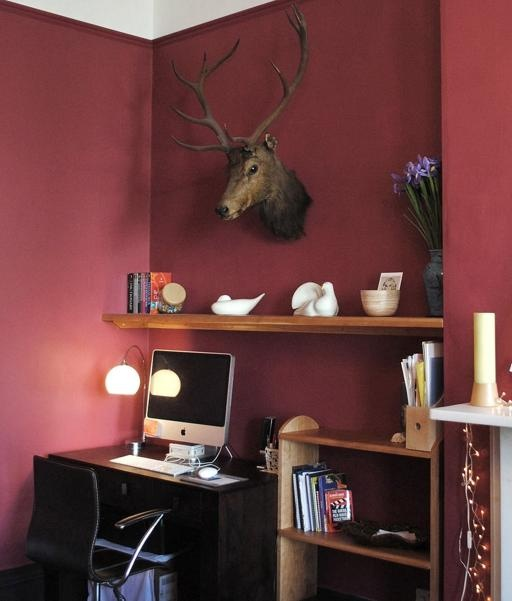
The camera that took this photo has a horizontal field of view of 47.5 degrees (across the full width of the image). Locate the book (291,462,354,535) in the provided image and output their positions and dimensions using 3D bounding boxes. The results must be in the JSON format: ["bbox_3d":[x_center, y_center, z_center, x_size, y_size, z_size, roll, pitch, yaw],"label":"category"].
[{"bbox_3d":[0.248,0.760,2.244,0.229,0.220,0.059,0,0,-22],"label":"book"}]

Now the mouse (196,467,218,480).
[{"bbox_3d":[-0.190,0.703,2.376,0.040,0.020,0.077,22,-5,-6],"label":"mouse"}]

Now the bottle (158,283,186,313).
[{"bbox_3d":[-0.430,-0.015,2.964,0.153,0.143,0.239,-2,1,-11],"label":"bottle"}]

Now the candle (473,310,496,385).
[{"bbox_3d":[0.638,0.139,1.628,0.067,0.216,0.054,-1,0,-5],"label":"candle"}]

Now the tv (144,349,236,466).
[{"bbox_3d":[-0.304,0.515,2.791,0.490,0.493,0.167,-3,-17,34],"label":"tv"}]

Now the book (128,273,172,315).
[{"bbox_3d":[-0.566,-0.019,3.053,0.221,0.293,0.206,5,-4,-42],"label":"book"}]

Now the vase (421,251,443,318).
[{"bbox_3d":[0.635,-0.061,2.038,0.051,0.240,0.097,6,-12,-25],"label":"vase"}]

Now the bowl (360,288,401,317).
[{"bbox_3d":[0.461,0.007,2.199,0.110,0.073,0.109,0,-6,0],"label":"bowl"}]
